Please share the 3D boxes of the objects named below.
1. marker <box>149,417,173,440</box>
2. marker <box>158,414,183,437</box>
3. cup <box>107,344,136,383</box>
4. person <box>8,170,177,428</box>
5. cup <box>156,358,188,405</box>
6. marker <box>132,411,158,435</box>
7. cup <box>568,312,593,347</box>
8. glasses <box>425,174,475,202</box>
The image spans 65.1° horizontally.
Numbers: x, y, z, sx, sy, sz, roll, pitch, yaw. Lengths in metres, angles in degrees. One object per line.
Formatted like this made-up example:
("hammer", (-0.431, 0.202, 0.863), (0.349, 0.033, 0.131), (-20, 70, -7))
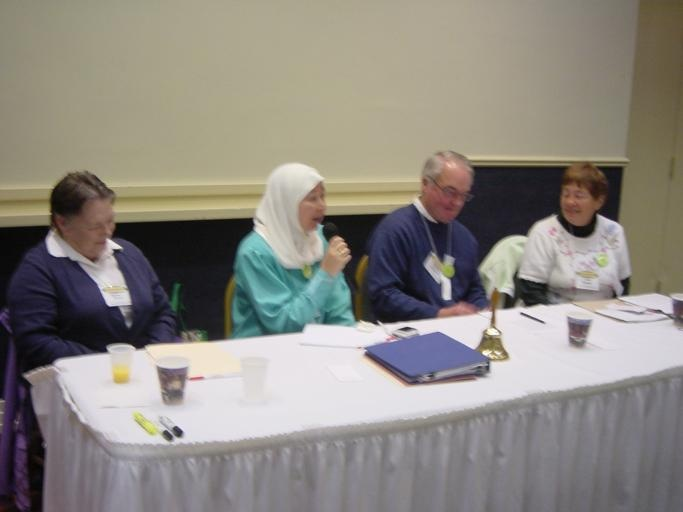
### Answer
("marker", (-0.482, 0.470, 1.445), (0.031, 0.024, 0.105), (-30, 29, -19))
("marker", (-0.463, 0.460, 1.457), (0.031, 0.029, 0.115), (-33, 35, -17))
("cup", (-0.683, 0.328, 1.665), (0.096, 0.127, 0.097), (1, 0, 0))
("person", (-1.114, 0.064, 2.684), (0.716, 1.265, 0.911), (2, 9, 30))
("cup", (-0.482, 0.355, 1.569), (0.103, 0.132, 0.114), (1, 1, 4))
("marker", (-0.534, 0.459, 1.465), (0.033, 0.013, 0.111), (-3, 18, -36))
("cup", (0.903, 0.280, 2.050), (0.100, 0.133, 0.114), (0, -1, 4))
("glasses", (0.546, -0.353, 2.788), (0.195, 0.124, 0.060), (1, 16, 10))
